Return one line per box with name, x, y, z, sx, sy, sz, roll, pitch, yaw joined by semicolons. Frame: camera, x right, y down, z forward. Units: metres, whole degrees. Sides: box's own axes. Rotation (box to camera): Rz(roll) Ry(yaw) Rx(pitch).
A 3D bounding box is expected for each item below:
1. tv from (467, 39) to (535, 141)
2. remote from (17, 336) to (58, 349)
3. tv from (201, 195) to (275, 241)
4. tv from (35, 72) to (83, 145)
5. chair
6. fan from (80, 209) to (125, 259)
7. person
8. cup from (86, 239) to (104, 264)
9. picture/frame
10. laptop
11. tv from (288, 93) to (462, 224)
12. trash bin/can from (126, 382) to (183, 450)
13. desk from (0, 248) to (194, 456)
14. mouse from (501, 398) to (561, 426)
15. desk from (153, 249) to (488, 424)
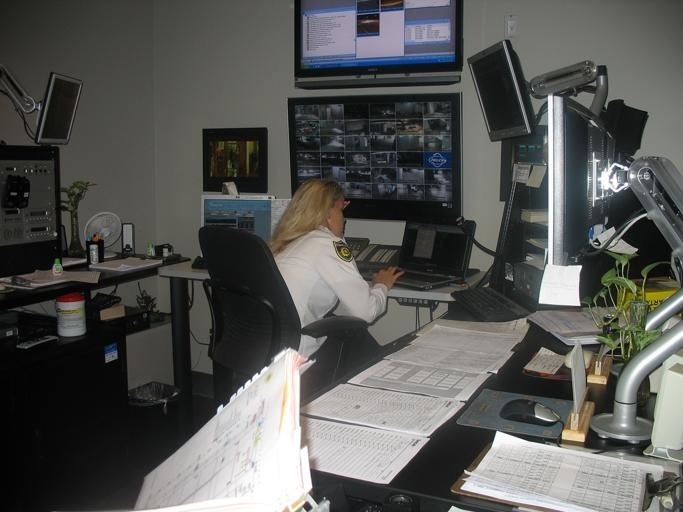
tv;0.769;-0.777;2.409;0.287;0.409;0.471;-1;10;-5
remote;-1.429;0.406;2.332;0.096;0.019;0.177;9;15;26
tv;-0.641;-0.220;3.152;0.458;0.346;0.119;-1;-20;-18
tv;-1.589;-0.813;2.788;0.211;0.379;0.247;5;11;27
chair;-0.367;0.259;2.600;0.819;1.183;0.812;6;10;43
fan;-1.503;-0.127;3.189;0.193;0.272;0.157;-4;-5;-20
person;-0.034;0.258;2.599;0.649;1.255;0.545;-17;23;-37
cup;-1.440;-0.026;2.914;0.087;0.136;0.070;-6;11;-28
picture/frame;-0.745;-0.705;3.601;0.529;0.497;0.054;2;7;15
laptop;0.420;-0.021;2.842;0.484;0.336;0.537;-8;9;-44
tv;0.257;-0.607;3.058;0.843;0.630;0.085;2;10;22
trash bin/can;-1.029;0.924;2.800;0.242;0.321;0.226;-2;11;-44
desk;-1.471;0.390;2.806;0.903;0.909;0.933;1;5;25
mouse;0.453;0.378;1.198;0.098;0.033;0.061;-2;6;28
desk;-0.343;0.272;3.158;1.028;1.010;1.340;3;6;30
